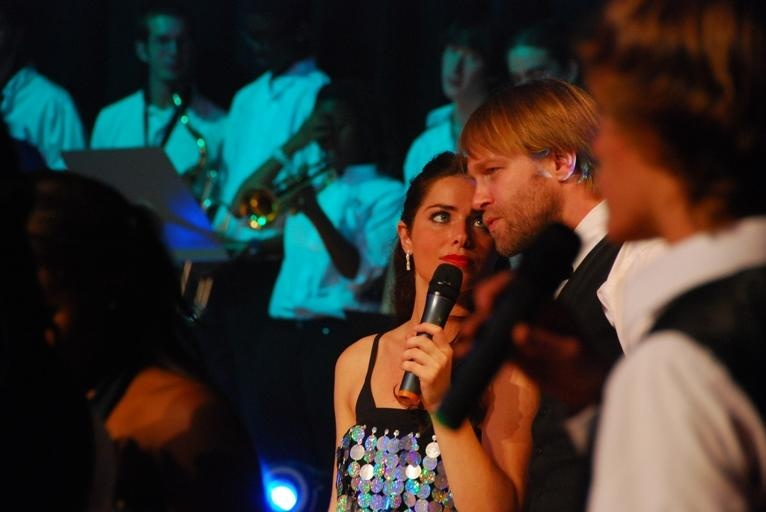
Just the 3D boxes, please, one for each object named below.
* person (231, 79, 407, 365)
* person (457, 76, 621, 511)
[{"bbox_3d":[-0.313,-0.221,4.317,0.773,1.371,0.786,-2,20,-4],"label":"person"},{"bbox_3d":[0.583,0.112,2.926,0.503,1.465,0.557,12,11,32],"label":"person"}]
